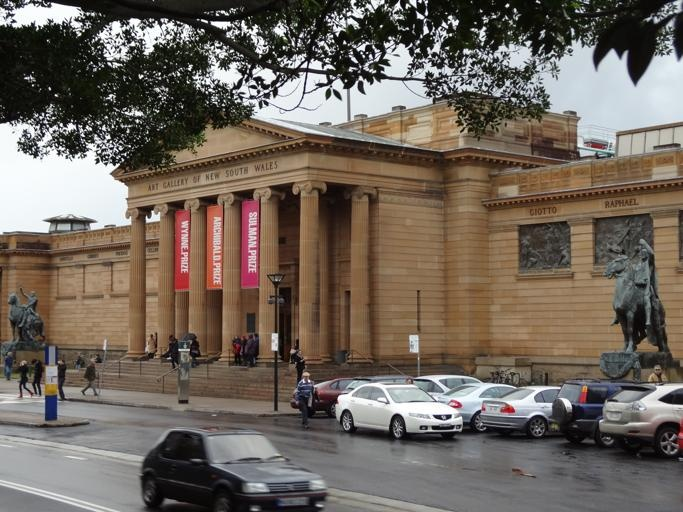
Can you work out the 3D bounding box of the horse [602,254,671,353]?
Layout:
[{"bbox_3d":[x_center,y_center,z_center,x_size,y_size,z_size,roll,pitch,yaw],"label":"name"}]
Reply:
[{"bbox_3d":[11.844,2.056,38.134,2.071,4.330,1.998,-5,-3,-28],"label":"horse"}]
